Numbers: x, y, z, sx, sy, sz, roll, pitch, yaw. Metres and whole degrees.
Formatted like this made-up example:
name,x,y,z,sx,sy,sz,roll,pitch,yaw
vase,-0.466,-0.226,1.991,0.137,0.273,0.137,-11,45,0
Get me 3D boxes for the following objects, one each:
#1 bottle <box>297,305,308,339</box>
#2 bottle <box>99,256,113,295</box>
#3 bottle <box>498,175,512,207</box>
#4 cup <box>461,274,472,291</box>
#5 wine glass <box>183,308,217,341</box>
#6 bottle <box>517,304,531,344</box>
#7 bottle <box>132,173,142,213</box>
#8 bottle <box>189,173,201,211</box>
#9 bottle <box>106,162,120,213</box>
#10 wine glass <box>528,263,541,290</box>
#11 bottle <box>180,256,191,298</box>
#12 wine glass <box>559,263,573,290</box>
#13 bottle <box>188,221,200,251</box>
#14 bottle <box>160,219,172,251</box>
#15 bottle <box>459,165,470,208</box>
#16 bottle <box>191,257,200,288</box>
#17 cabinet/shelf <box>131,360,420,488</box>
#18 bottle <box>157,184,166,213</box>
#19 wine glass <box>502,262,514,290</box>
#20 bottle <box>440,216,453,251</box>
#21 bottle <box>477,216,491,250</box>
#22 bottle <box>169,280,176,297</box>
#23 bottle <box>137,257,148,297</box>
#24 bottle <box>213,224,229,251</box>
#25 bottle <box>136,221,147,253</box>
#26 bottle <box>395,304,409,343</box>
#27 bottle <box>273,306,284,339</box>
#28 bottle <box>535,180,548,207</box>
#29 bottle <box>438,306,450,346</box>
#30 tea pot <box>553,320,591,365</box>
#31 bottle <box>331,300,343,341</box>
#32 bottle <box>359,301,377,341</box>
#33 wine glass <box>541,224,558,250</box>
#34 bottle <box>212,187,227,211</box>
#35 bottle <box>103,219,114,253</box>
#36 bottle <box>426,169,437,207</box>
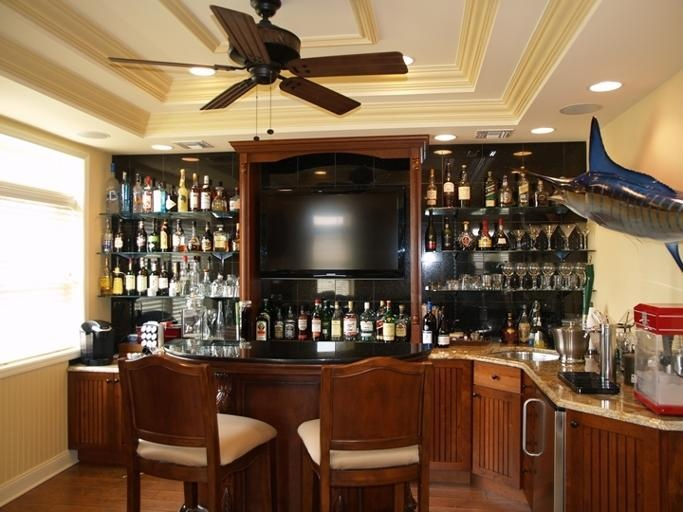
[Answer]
name,x,y,z,sx,sy,sz,roll,pitch,yaw
bottle,-0.332,0.583,4.837,0.084,0.293,0.159,-1,-2,-1
bottle,-2.170,0.173,5.096,0.110,0.358,0.088,1,-3,-42
bottle,1.401,-0.570,4.725,0.102,0.300,0.171,-2,-3,16
cup,1.085,0.218,4.774,0.097,0.129,0.102,-1,-2,0
wine glass,-1.211,0.582,4.690,0.268,0.262,0.821,-1,-2,-17
bottle,1.566,0.584,4.730,0.108,0.335,0.123,-3,-3,25
bottle,-1.888,-0.598,5.112,0.080,0.402,0.222,-1,-3,-21
bottle,-1.328,-0.583,4.989,0.084,0.344,0.142,-1,-2,-15
bottle,-2.116,-0.624,5.099,0.120,0.465,0.234,0,-3,-26
wine glass,1.636,0.169,4.676,0.102,0.230,0.145,-2,-3,17
bottle,-1.419,0.175,4.997,0.086,0.366,0.226,-1,-2,-16
wine glass,1.854,0.162,4.566,0.094,0.219,0.071,-2,-2,10
bottle,-1.352,-0.186,5.065,0.113,0.283,0.116,-1,-2,0
bottle,-1.626,-0.195,5.083,0.104,0.298,0.088,-1,-2,-7
bottle,1.069,-0.623,4.809,0.111,0.386,0.167,-2,-2,13
bottle,-1.333,0.140,5.028,0.096,0.292,0.193,-1,-2,-14
cabinet/shelf,-0.343,0.917,2.994,1.060,0.525,0.406,0,7,3
bottle,-1.622,-0.536,5.020,0.064,0.279,0.115,-1,-2,-15
wine glass,1.424,0.167,4.715,0.089,0.236,0.159,-2,-3,15
bottle,0.921,-0.200,4.813,0.094,0.303,0.081,-2,-2,12
bottle,1.238,-0.204,4.782,0.115,0.293,0.148,-2,-2,14
bottle,-1.550,0.287,5.041,0.062,0.161,0.106,0,-3,-31
bottle,-1.842,0.182,5.119,0.100,0.366,0.150,-1,-3,-18
bottle,-1.095,-0.175,5.027,0.133,0.260,0.113,-1,-2,-11
bottle,-1.861,-0.186,5.130,0.095,0.285,0.148,-1,-3,-19
bottle,0.517,0.568,4.707,0.110,0.294,0.113,-1,-2,0
bottle,-0.557,0.591,4.888,0.089,0.270,0.163,-1,-2,-8
bottle,1.682,-0.541,4.654,0.098,0.245,0.111,-2,-2,6
bottle,0.860,0.594,4.686,0.100,0.319,0.366,-2,-3,10
tea pot,1.614,0.624,3.978,0.398,0.272,0.249,0,-4,4
bottle,-0.040,0.566,4.835,0.105,0.327,0.199,-1,-2,-1
bottle,0.225,0.559,4.801,0.144,0.327,0.212,-2,-2,2
wine glass,1.779,-0.170,4.715,0.119,0.224,0.092,-2,-3,19
bottle,-1.103,-0.523,4.981,0.131,0.247,0.204,-1,-2,-12
bottle,-2.151,-0.198,5.070,0.092,0.334,0.126,-1,-3,-22
bottle,0.791,-0.611,4.848,0.110,0.351,0.119,-1,-2,0
